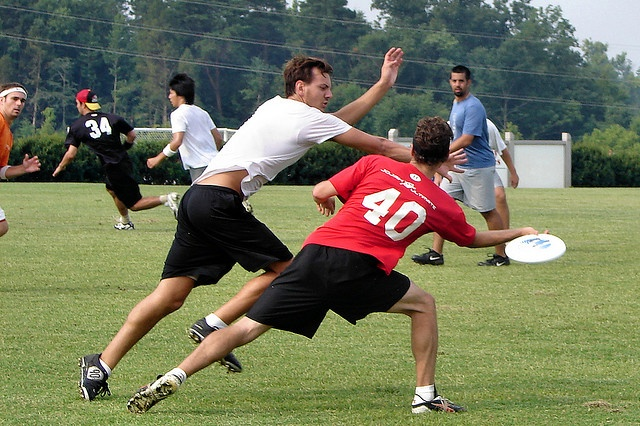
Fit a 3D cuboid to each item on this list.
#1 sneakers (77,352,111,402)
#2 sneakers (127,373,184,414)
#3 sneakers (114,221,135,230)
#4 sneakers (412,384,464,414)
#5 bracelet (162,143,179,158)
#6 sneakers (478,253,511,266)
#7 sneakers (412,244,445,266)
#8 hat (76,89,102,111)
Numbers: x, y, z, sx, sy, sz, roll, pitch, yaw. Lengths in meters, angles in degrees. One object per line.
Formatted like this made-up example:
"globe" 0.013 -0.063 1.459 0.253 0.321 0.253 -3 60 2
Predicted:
"sneakers" -2.126 1.533 9.229 0.317 0.477 0.179 -3 9 4
"sneakers" -1.505 1.671 9.073 0.485 0.149 0.225 -25 2 9
"sneakers" -3.185 0.196 16.036 0.337 0.127 0.110 3 -6 0
"sneakers" 1.048 1.760 9.216 0.584 0.234 0.183 0 -6 -3
"bracelet" -2.271 -0.952 14.838 0.193 0.205 0.237 -23 -28 29
"sneakers" 2.358 0.642 13.659 0.579 0.204 0.177 1 -1 0
"sneakers" 1.459 0.621 13.706 0.534 0.225 0.179 3 -7 7
"hat" -3.720 -1.825 15.748 0.466 0.224 0.284 25 17 11
